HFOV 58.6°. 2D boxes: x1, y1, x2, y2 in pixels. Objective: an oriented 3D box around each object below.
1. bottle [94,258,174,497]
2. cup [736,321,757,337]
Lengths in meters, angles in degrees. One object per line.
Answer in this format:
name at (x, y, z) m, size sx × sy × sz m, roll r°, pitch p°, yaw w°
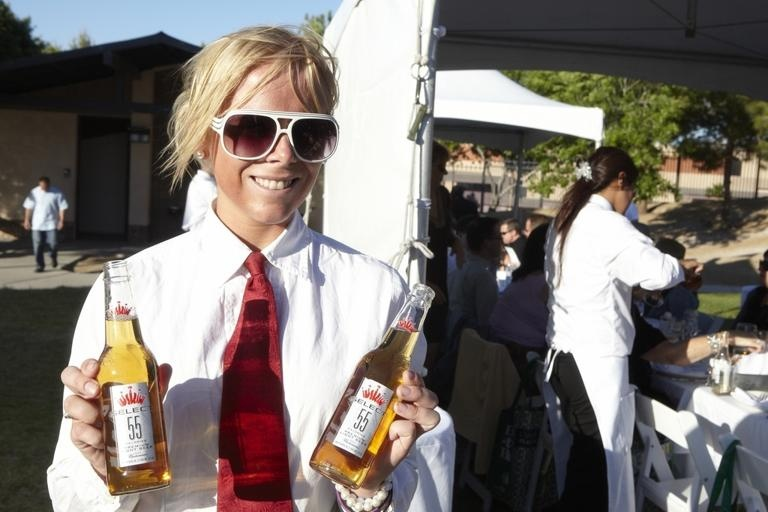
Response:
bottle at (-0.996, 0.492, 2.759) m, size 0.310 × 0.930 × 0.220 m, roll 3°, pitch 3°, yaw -9°
cup at (2.609, 0.529, 4.944) m, size 0.105 × 0.113 × 0.111 m, roll 2°, pitch -4°, yaw 0°
